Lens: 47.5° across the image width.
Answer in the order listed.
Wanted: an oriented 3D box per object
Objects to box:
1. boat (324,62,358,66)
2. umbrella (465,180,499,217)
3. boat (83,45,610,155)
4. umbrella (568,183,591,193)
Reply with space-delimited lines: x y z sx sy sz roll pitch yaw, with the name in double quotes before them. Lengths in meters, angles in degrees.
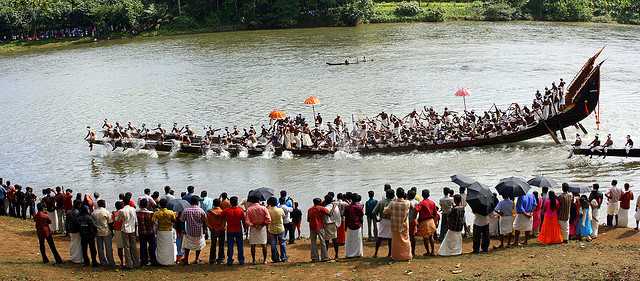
"boat" 3.454 -12.195 115.226 4.786 0.490 0.685 -2 15 -6
"umbrella" 17.414 6.339 78.170 3.108 3.401 1.058 -3 12 7
"boat" -0.125 -2.144 95.418 77.443 10.893 8.922 -5 -6 7
"umbrella" 28.388 5.204 80.024 1.503 0.394 1.425 -7 11 -38
